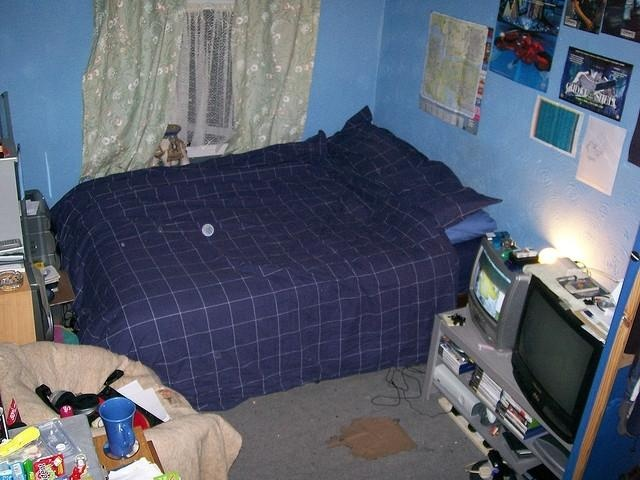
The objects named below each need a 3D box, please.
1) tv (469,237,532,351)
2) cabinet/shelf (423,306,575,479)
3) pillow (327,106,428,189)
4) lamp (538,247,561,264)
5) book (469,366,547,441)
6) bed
[{"bbox_3d":[1.011,0.315,2.781,0.235,0.451,0.453,-1,38,-13],"label":"tv"},{"bbox_3d":[0.993,0.847,2.708,0.258,0.520,0.770,-13,47,-23],"label":"cabinet/shelf"},{"bbox_3d":[0.408,-0.742,4.130,0.605,0.134,0.768,-40,53,-14],"label":"pillow"},{"bbox_3d":[1.344,0.083,2.926,0.115,0.031,0.121,-10,20,-13],"label":"lamp"},{"bbox_3d":[1.023,0.879,2.744,0.232,0.104,0.323,-14,39,-25],"label":"book"},{"bbox_3d":[-0.220,0.134,3.362,2.432,0.918,1.947,-9,40,-21],"label":"bed"}]
